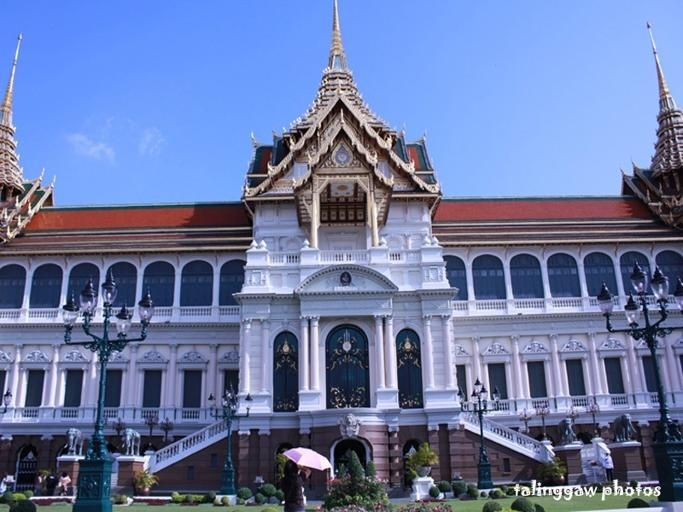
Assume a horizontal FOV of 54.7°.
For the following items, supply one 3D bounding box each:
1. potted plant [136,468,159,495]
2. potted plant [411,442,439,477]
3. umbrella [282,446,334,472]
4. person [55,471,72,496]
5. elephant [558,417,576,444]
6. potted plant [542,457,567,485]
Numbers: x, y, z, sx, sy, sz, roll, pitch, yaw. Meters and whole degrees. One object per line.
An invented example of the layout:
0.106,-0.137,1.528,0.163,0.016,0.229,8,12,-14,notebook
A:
-10.332,11.913,34.744,1.028,1.075,0.976,22,-28,-26,potted plant
4.341,11.062,35.520,1.176,1.289,1.161,11,-40,-10,potted plant
-1.441,7.041,23.258,1.398,0.472,1.419,2,-24,41,umbrella
-15.013,12.278,35.668,0.761,1.460,0.778,2,-26,-3,person
12.757,9.850,37.230,0.840,1.660,2.477,-9,-23,16,elephant
11.257,11.345,34.897,1.140,1.367,1.213,-21,-32,36,potted plant
